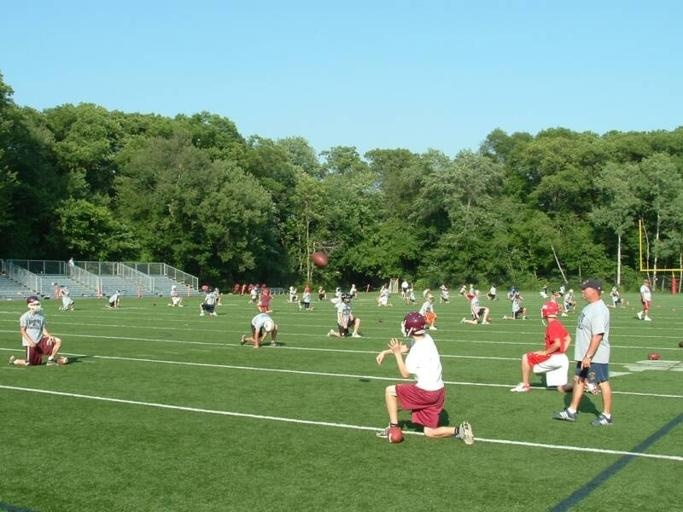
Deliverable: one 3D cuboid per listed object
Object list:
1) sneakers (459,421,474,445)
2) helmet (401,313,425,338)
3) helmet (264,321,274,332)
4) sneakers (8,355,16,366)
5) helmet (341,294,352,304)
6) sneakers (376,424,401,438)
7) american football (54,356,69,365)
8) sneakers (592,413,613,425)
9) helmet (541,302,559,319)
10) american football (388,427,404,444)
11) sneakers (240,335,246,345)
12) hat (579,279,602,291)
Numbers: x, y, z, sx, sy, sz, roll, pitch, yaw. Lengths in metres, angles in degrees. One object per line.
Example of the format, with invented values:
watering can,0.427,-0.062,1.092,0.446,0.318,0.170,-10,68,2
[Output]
sneakers,2.010,2.890,12.320,0.182,0.401,0.186,-6,11,22
helmet,1.172,1.149,12.446,0.414,0.392,0.334,12,8,25
helmet,-2.149,2.026,22.043,0.319,0.248,0.327,-4,-25,-28
sneakers,-8.000,2.521,18.242,0.132,0.165,0.303,5,-3,-25
helmet,0.146,1.464,25.456,0.328,0.315,0.278,-16,10,-19
sneakers,0.764,2.922,12.565,0.492,0.220,0.184,-7,-1,43
american football,-6.829,2.615,18.465,0.235,0.215,0.247,-7,26,20
sneakers,4.636,2.903,13.341,0.407,0.182,0.153,0,-8,-7
helmet,4.210,1.101,15.308,0.311,0.332,0.404,4,-2,-22
american football,0.868,2.938,12.362,0.207,0.266,0.243,4,-23,-2
sneakers,-2.972,2.516,22.577,0.157,0.202,0.293,0,7,-3
hat,4.546,0.514,13.792,0.333,0.180,0.244,9,0,27
